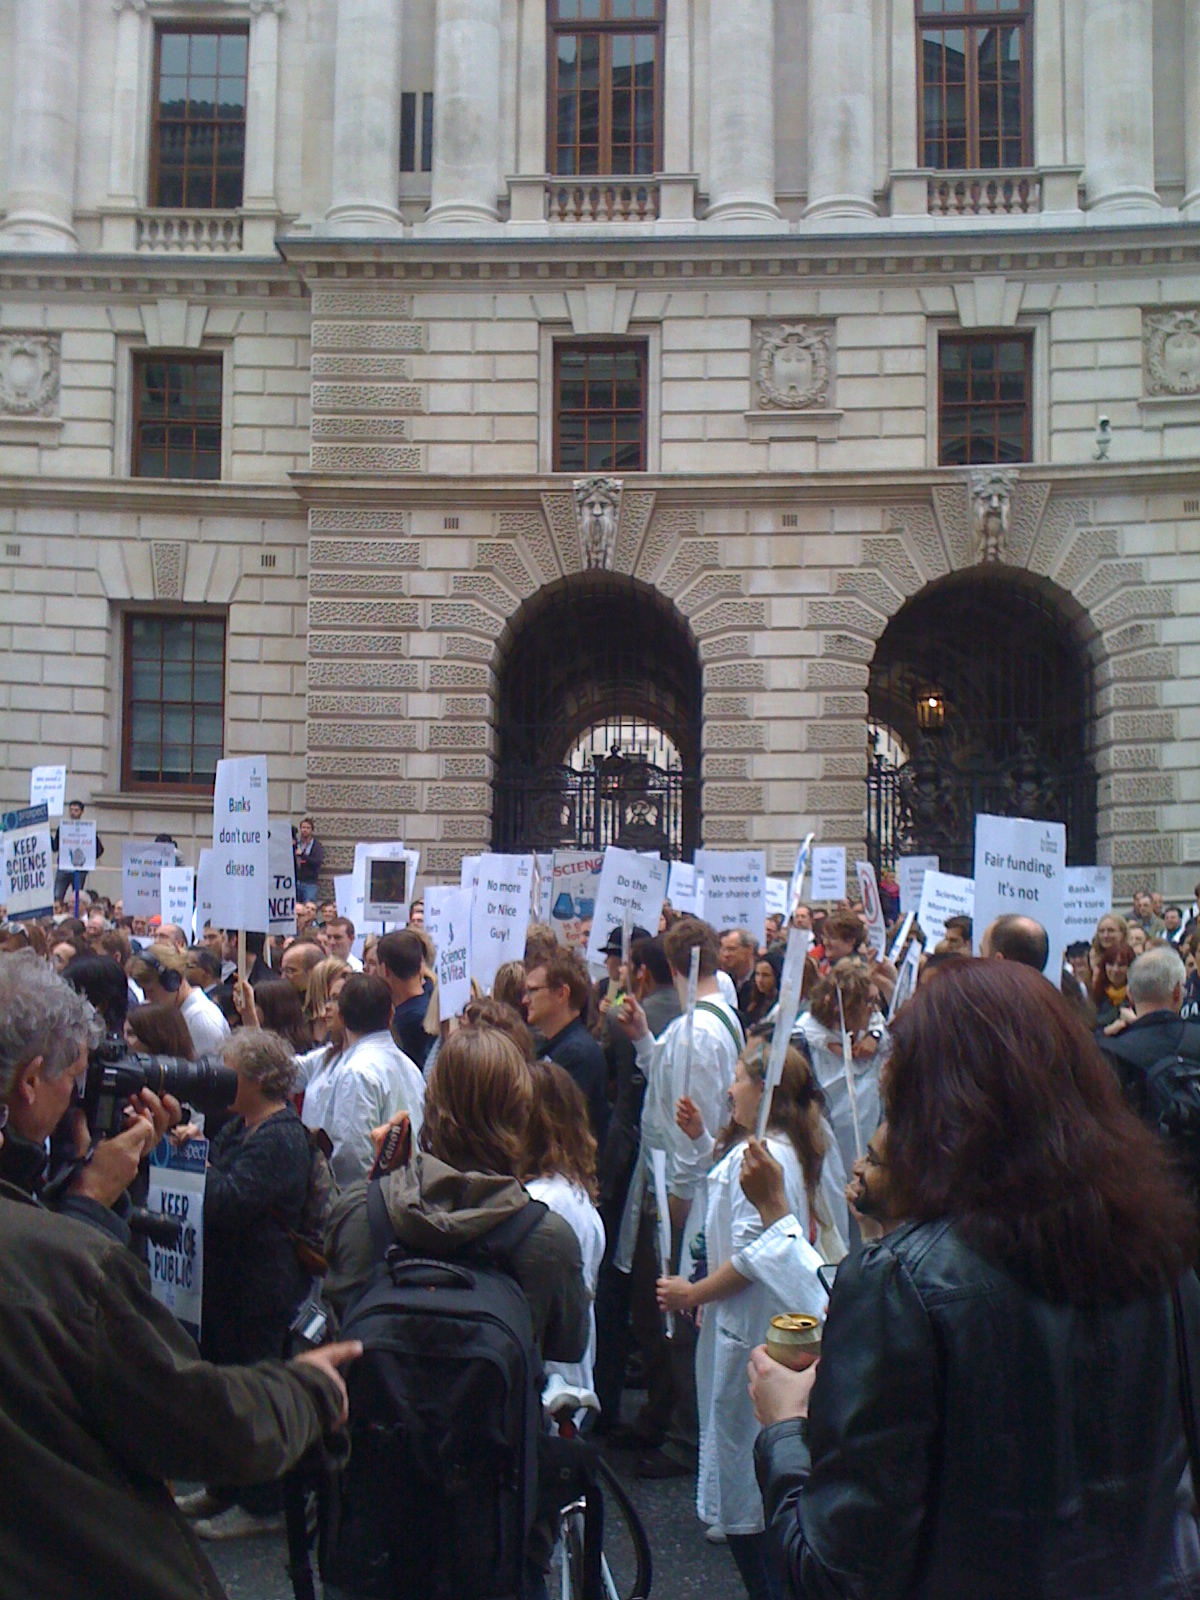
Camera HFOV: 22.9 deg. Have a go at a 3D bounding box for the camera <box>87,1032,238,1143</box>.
[{"bbox_3d":[-1.828,1.181,12.417,0.600,0.384,0.576,4,7,-10],"label":"camera"}]

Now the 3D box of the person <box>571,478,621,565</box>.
[{"bbox_3d":[-0.017,-2.839,30.076,0.423,0.883,0.421,2,-6,2],"label":"person"}]

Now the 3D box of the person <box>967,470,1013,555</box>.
[{"bbox_3d":[3.921,-2.880,29.803,0.375,0.867,0.415,-1,-7,31],"label":"person"}]

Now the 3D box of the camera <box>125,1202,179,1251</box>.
[{"bbox_3d":[-1.848,1.778,12.380,0.278,0.123,0.113,20,38,22],"label":"camera"}]

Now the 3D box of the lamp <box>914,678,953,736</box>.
[{"bbox_3d":[4.041,-1.096,35.410,0.529,0.876,0.555,2,-8,0],"label":"lamp"}]

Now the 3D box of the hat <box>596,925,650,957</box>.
[{"bbox_3d":[0.157,0.890,18.847,0.260,0.161,0.194,1,-4,-7],"label":"hat"}]

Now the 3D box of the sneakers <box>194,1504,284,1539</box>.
[{"bbox_3d":[-1.776,3.591,14.722,0.428,0.199,0.152,4,-9,2],"label":"sneakers"}]

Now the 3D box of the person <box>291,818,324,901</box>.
[{"bbox_3d":[-2.856,0.574,29.187,0.294,0.904,1.086,3,-6,-6],"label":"person"}]

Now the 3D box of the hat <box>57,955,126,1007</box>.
[{"bbox_3d":[-2.440,0.878,14.467,0.189,0.286,0.272,6,2,25],"label":"hat"}]
